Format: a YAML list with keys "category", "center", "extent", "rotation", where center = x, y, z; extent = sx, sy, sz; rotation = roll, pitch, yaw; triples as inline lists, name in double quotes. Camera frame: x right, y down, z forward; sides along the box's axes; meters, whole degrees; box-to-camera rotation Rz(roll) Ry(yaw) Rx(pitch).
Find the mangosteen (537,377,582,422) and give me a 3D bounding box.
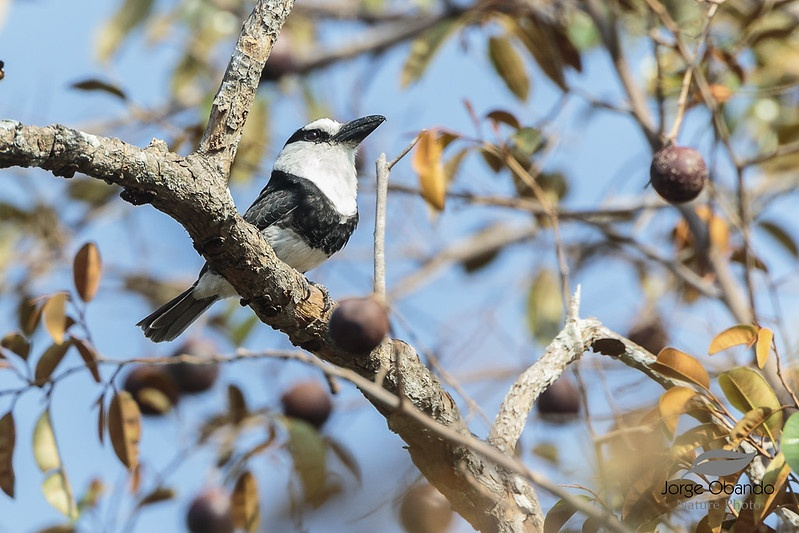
- category: "mangosteen"
  center: [0.763, 0.650, 5.436]
  extent: [0.222, 0.221, 0.229]
  rotation: [-5, 0, -1]
